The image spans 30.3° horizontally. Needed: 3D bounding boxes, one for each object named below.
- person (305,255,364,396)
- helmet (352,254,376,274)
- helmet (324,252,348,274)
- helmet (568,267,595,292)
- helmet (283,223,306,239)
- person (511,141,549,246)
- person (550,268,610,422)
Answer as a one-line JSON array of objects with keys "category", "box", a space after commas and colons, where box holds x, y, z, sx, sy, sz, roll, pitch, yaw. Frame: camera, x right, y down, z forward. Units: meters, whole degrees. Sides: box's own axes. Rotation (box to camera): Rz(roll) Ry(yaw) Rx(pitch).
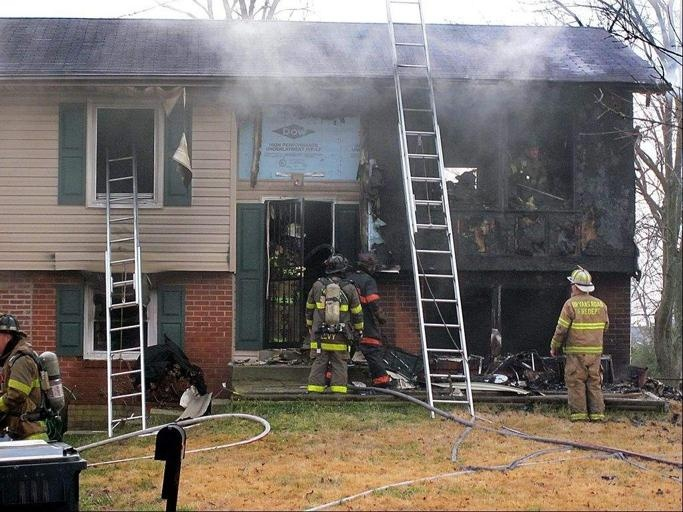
[{"category": "person", "box": [-0.098, 1.073, 20.386, 0.913, 2.213, 0.599, -1, -2, 1]}, {"category": "helmet", "box": [0.407, 0.117, 21.446, 0.321, 0.296, 0.290, -3, 3, -2]}, {"category": "helmet", "box": [-0.082, 0.118, 20.802, 0.268, 0.287, 0.343, -4, 1, 2]}, {"category": "helmet", "box": [3.775, 0.368, 19.936, 0.346, 0.260, 0.492, 12, 19, -7]}, {"category": "helmet", "box": [-0.795, -0.453, 22.051, 0.413, 0.407, 0.233, -2, -7, 18]}, {"category": "person", "box": [3.352, -1.092, 22.526, 0.681, 2.040, 1.050, -2, -2, 9]}, {"category": "person", "box": [3.732, 1.370, 19.673, 0.843, 2.331, 0.444, -2, -2, 12]}]
